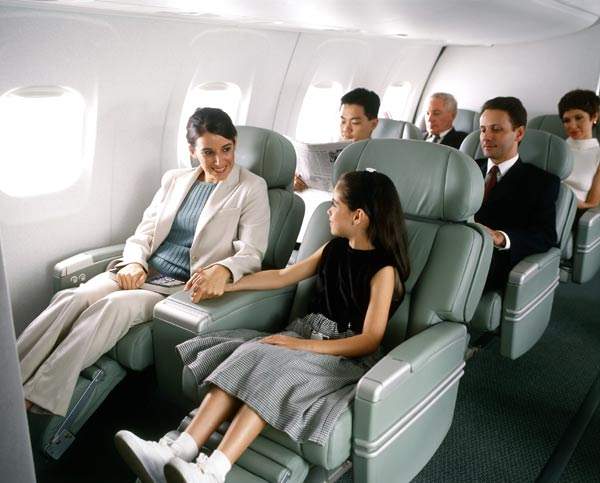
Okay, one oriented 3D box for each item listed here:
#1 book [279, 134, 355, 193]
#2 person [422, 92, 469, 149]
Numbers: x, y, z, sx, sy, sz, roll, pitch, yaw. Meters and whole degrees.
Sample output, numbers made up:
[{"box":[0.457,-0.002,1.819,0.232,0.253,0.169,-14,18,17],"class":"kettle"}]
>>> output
[{"box":[0.090,-0.692,3.410,0.503,0.539,0.489,-7,44,-13],"class":"book"},{"box":[1.424,-1.238,4.293,0.364,0.485,0.729,-15,22,-28],"class":"person"}]
